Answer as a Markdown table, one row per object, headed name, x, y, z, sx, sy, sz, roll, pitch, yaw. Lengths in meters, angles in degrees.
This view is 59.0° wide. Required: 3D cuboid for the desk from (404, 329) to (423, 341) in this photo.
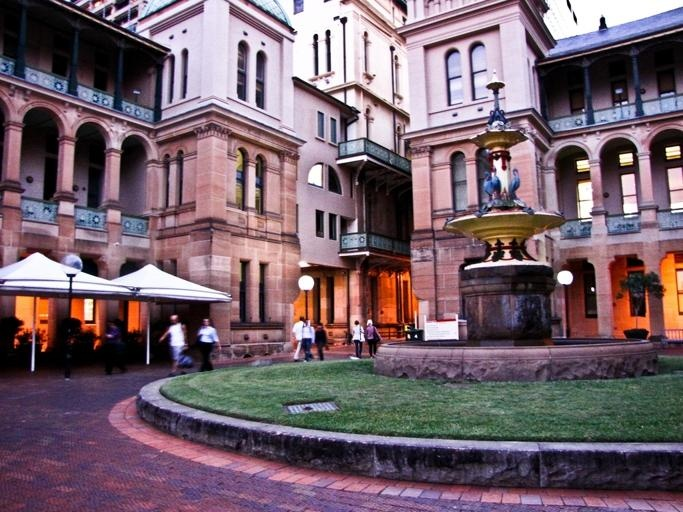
| name | x | y | z | sx | sy | sz | roll | pitch | yaw |
| --- | --- | --- | --- | --- | --- | --- | --- | --- | --- |
| desk | 3.517 | 3.691 | 28.679 | 0.755 | 0.442 | 0.603 | -3 | -7 | 10 |
